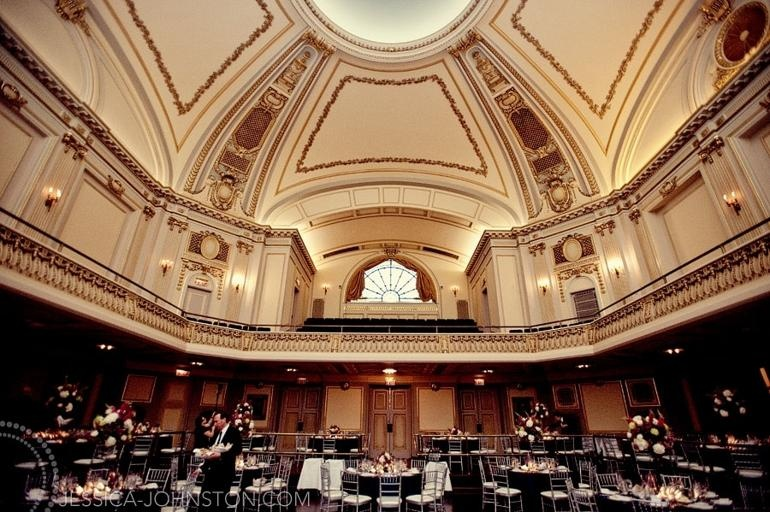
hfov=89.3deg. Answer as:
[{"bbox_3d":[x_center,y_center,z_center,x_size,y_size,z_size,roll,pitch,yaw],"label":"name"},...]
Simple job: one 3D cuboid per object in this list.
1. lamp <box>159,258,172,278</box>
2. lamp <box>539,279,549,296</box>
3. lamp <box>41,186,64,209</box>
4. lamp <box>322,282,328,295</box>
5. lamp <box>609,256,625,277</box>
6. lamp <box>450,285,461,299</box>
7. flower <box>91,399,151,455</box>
[{"bbox_3d":[-8.122,0.375,14.469,0.151,0.685,0.437,-13,-33,24],"label":"lamp"},{"bbox_3d":[6.430,1.201,15.716,0.401,0.542,0.202,-7,-21,32],"label":"lamp"},{"bbox_3d":[-9.442,-1.703,11.083,0.200,0.527,0.391,0,-13,21],"label":"lamp"},{"bbox_3d":[-3.179,1.769,20.991,0.312,0.451,0.136,3,-8,-5],"label":"lamp"},{"bbox_3d":[8.570,0.358,14.410,0.502,0.843,0.172,-19,-36,30],"label":"lamp"},{"bbox_3d":[3.793,1.908,20.894,0.603,0.657,0.237,3,0,4],"label":"lamp"},{"bbox_3d":[-5.553,3.517,8.262,0.710,0.907,1.059,-3,-30,7],"label":"flower"}]
